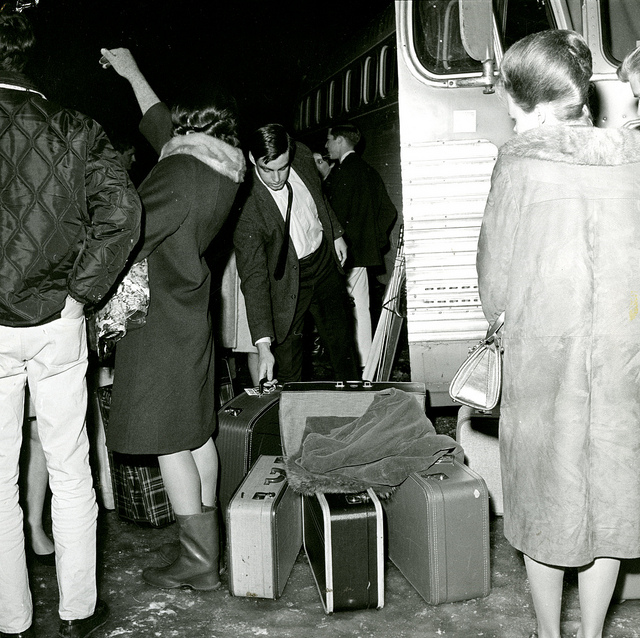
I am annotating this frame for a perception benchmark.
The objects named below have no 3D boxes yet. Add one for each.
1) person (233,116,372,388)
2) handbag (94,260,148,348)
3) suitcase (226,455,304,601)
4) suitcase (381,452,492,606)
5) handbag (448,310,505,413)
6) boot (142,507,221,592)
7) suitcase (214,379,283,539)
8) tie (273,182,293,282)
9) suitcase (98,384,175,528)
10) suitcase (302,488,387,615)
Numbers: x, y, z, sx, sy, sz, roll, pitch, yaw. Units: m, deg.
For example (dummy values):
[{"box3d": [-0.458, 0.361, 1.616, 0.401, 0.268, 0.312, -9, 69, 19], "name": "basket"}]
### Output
[{"box3d": [-0.120, -0.342, 4.695, 0.665, 1.470, 2.197, -1, 8, -1], "name": "person"}, {"box3d": [-0.680, -0.055, 2.770, 0.107, 0.368, 0.127, 32, -20, -3], "name": "handbag"}, {"box3d": [-0.199, 0.811, 2.971, 0.130, 0.383, 0.410, 0, 13, 6], "name": "suitcase"}, {"box3d": [0.441, 0.769, 3.072, 0.263, 0.535, 0.544, -7, 11, -14], "name": "suitcase"}, {"box3d": [0.517, 0.129, 2.553, 0.169, 0.341, 0.211, 1, 7, 15], "name": "handbag"}, {"box3d": [-0.543, 0.879, 3.063, 0.305, 0.354, 0.176, 9, 15, 9], "name": "boot"}, {"box3d": [-0.297, 0.600, 3.267, 0.175, 0.612, 0.609, 0, 8, 12], "name": "suitcase"}, {"box3d": [-0.193, -0.438, 4.134, 0.070, 0.549, 0.067, 12, 8, 31], "name": "tie"}, {"box3d": [-0.783, 0.587, 3.564, 0.392, 0.734, 0.265, 6, 28, 10], "name": "suitcase"}, {"box3d": [0.100, 0.831, 2.951, 0.303, 0.446, 0.361, -1, 7, -1], "name": "suitcase"}]
